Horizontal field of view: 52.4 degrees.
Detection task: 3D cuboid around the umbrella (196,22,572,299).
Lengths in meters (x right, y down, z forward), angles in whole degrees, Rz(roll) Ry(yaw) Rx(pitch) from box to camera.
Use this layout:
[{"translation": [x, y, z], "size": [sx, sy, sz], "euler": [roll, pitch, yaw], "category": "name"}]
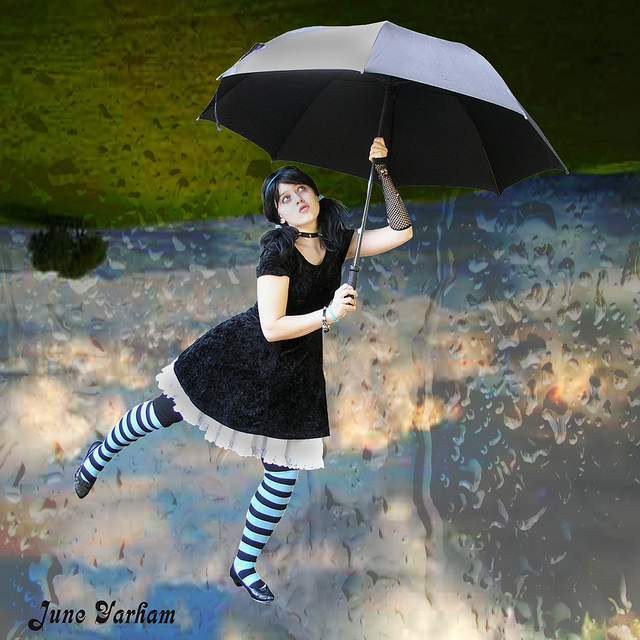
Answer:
[{"translation": [0.271, -0.506, 2.752], "size": [1.097, 0.990, 1.203], "euler": [-2, 10, -17], "category": "umbrella"}]
